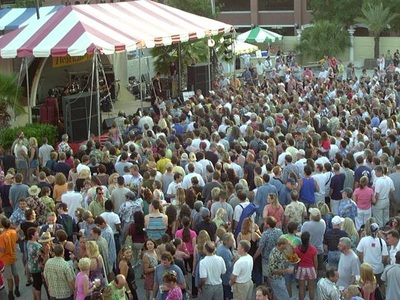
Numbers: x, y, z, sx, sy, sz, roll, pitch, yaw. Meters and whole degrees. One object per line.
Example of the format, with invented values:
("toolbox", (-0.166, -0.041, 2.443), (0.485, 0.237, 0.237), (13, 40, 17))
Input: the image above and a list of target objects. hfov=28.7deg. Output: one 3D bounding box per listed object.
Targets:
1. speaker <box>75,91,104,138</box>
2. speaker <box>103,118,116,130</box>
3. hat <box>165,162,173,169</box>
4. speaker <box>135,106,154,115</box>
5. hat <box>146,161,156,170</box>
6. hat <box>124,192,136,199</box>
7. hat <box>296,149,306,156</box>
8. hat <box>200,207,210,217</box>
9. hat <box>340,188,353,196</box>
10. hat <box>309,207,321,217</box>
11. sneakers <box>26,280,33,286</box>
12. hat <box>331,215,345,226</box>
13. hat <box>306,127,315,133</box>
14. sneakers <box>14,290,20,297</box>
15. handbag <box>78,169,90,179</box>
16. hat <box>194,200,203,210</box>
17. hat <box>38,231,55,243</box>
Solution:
("speaker", (-3.835, -1.150, 26.735), (0.427, 1.460, 1.362), (1, 10, 12))
("speaker", (-3.128, -0.872, 26.967), (0.275, 0.329, 0.327), (-29, -11, 40))
("hat", (-0.871, 0.449, 21.755), (0.151, 0.177, 0.114), (-23, 19, -31))
("speaker", (-1.991, -1.393, 28.156), (0.391, 0.260, 0.387), (-11, 18, -39))
("hat", (-1.392, 0.429, 21.904), (0.215, 0.096, 0.202), (36, 21, 36))
("hat", (-1.850, 1.193, 20.645), (0.185, 0.093, 0.152), (14, 12, 27))
("hat", (2.888, 0.082, 22.382), (0.197, 0.123, 0.148), (27, 29, 37))
("hat", (0.102, 1.612, 20.137), (0.262, 0.231, 0.251), (-2, 4, 10))
("hat", (3.904, 1.138, 20.855), (0.236, 0.167, 0.186), (21, 18, 29))
("hat", (2.994, 1.618, 20.336), (0.281, 0.201, 0.371), (-2, 5, 9))
("sneakers", (-4.579, 3.560, 20.872), (0.169, 0.144, 0.107), (-3, 4, -11))
("hat", (3.548, 1.820, 20.131), (0.321, 0.226, 0.298), (-2, 4, 10))
("hat", (3.409, -0.568, 24.042), (0.186, 0.207, 0.147), (34, -2, -1))
("sneakers", (-4.806, 3.761, 20.536), (0.082, 0.109, 0.227), (-9, 24, -39))
("handbag", (-3.195, 0.661, 21.654), (0.357, 0.269, 0.235), (-5, 5, -25))
("hat", (-0.047, 1.478, 20.384), (0.227, 0.264, 0.409), (-2, 4, -1))
("hat", (-3.872, 2.210, 19.556), (0.243, 0.126, 0.265), (5, 9, 19))
